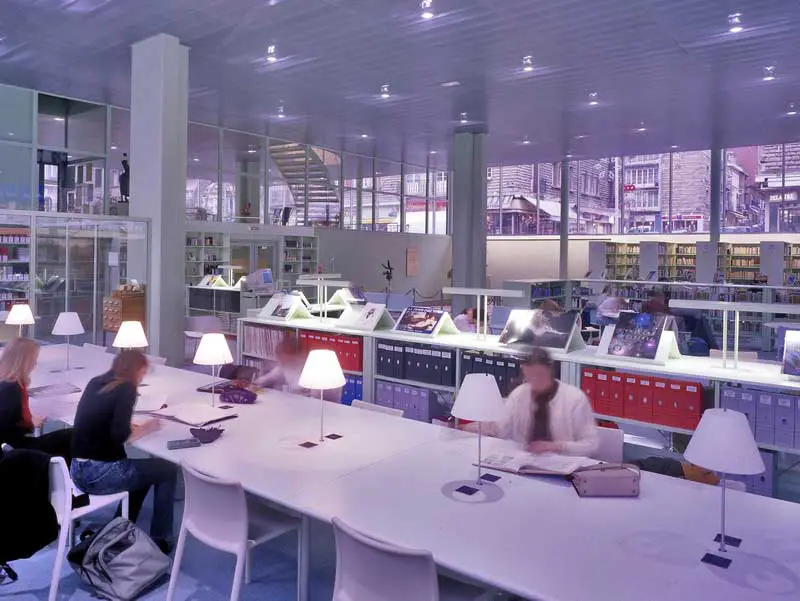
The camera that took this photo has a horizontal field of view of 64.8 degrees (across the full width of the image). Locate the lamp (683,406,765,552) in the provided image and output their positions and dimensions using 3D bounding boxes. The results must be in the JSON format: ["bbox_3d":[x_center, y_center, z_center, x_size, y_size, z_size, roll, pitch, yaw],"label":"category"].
[{"bbox_3d":[1.530,0.660,2.969,0.262,0.260,0.261,-4,11,-28],"label":"lamp"}]

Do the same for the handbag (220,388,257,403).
[{"bbox_3d":[-1.304,0.769,5.092,0.159,0.043,0.157,10,11,33],"label":"handbag"}]

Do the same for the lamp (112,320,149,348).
[{"bbox_3d":[-2.349,0.313,5.549,0.234,0.311,0.541,-3,10,-20],"label":"lamp"}]

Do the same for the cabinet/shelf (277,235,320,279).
[{"bbox_3d":[-2.548,-1.112,15.968,0.944,1.064,0.293,-6,11,-35],"label":"cabinet/shelf"}]

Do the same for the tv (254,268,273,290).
[{"bbox_3d":[-2.349,-0.372,10.797,0.276,0.357,0.406,-8,0,22],"label":"tv"}]
